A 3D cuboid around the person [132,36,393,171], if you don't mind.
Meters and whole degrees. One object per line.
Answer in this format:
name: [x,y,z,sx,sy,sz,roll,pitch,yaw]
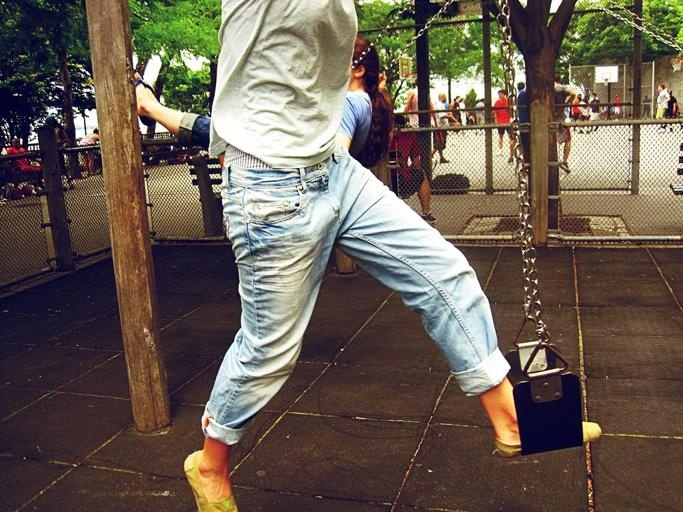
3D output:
person: [-0.290,-0.772,3.100,1.020,0.495,0.888,0,36,-5]
